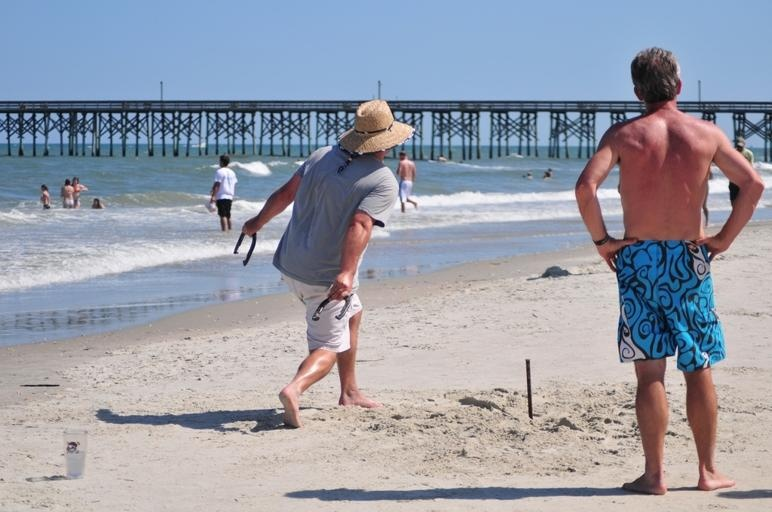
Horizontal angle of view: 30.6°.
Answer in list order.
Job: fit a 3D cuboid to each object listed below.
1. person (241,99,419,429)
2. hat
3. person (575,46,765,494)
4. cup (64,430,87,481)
[{"bbox_3d":[-0.424,0.033,11.324,1.211,2.533,0.828,-3,12,-3],"label":"person"},{"bbox_3d":[-0.120,-1.076,11.379,0.696,0.270,0.566,-10,30,-6],"label":"hat"},{"bbox_3d":[2.110,0.082,10.578,1.294,3.235,0.786,0,13,12],"label":"person"},{"bbox_3d":[-2.317,1.479,10.598,0.182,0.339,0.191,-2,12,0],"label":"cup"}]
